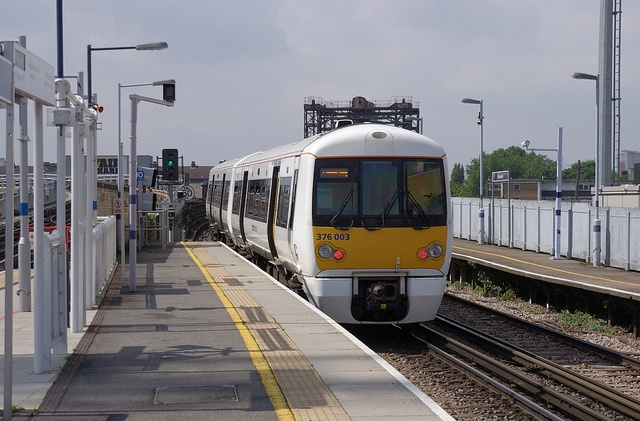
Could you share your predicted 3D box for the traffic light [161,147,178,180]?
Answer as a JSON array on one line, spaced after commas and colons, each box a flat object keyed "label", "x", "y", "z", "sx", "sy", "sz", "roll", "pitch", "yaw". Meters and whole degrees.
[{"label": "traffic light", "x": -5.912, "y": -1.838, "z": 23.431, "sx": 0.580, "sy": 1.339, "sz": 0.452, "roll": -3, "pitch": 23, "yaw": -19}]

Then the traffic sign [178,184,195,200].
[{"label": "traffic sign", "x": -7.249, "y": -0.977, "z": 33.018, "sx": 0.849, "sy": 0.927, "sz": 0.201, "roll": 25, "pitch": 20, "yaw": 27}]
